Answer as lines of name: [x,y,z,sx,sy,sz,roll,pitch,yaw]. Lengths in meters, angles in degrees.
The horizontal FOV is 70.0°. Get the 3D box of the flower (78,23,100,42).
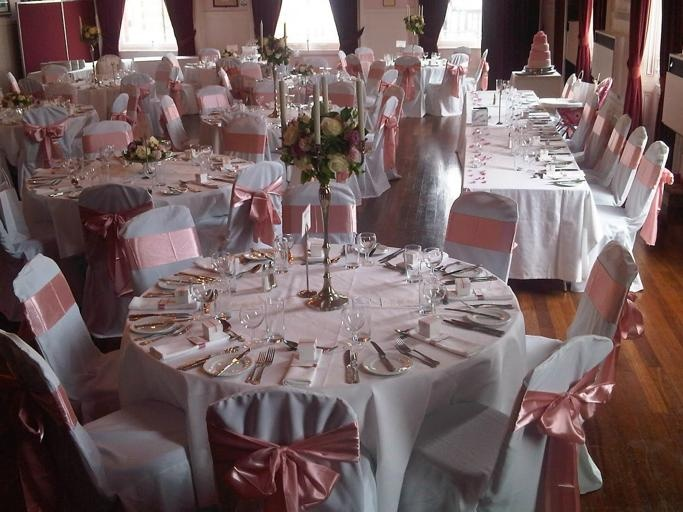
flower: [-5.163,-4.578,10.055,0.436,0.329,0.290,10,19,25]

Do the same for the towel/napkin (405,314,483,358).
towel/napkin: [0.440,0.368,2.180,0.280,0.080,0.147,21,29,39]

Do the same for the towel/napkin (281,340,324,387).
towel/napkin: [-0.154,0.411,2.036,0.134,0.115,0.315,3,18,6]

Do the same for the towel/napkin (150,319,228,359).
towel/napkin: [-0.675,0.389,2.204,0.232,0.100,0.167,-17,25,-36]
